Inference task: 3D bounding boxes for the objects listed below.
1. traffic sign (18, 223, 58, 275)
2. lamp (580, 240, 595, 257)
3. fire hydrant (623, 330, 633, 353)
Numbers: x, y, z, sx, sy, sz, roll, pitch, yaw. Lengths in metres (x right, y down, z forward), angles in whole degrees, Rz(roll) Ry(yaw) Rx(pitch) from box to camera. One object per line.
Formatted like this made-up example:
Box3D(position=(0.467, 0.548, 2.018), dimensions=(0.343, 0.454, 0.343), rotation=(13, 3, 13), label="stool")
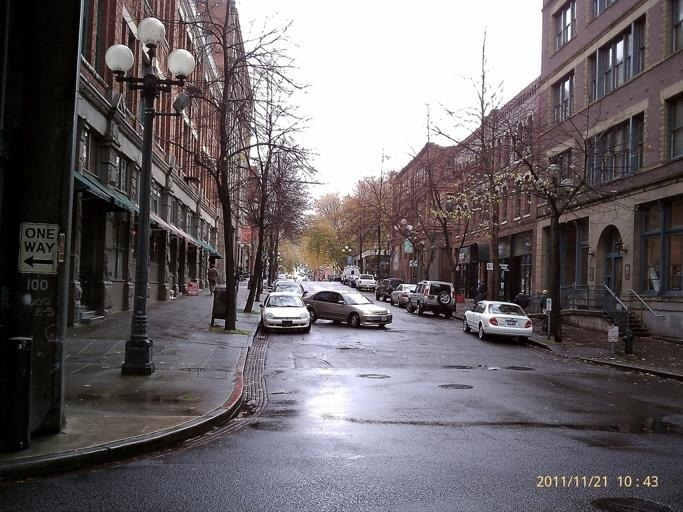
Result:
Box3D(position=(-4.206, -0.105, 7.945), dimensions=(0.589, 0.965, 0.095), rotation=(0, 2, -18), label="traffic sign")
Box3D(position=(13.261, -0.337, 31.024), dimensions=(0.532, 0.520, 0.725), rotation=(1, 5, 14), label="lamp")
Box3D(position=(9.707, 2.909, 19.503), dimensions=(0.259, 0.790, 0.429), rotation=(-1, -7, 24), label="fire hydrant")
